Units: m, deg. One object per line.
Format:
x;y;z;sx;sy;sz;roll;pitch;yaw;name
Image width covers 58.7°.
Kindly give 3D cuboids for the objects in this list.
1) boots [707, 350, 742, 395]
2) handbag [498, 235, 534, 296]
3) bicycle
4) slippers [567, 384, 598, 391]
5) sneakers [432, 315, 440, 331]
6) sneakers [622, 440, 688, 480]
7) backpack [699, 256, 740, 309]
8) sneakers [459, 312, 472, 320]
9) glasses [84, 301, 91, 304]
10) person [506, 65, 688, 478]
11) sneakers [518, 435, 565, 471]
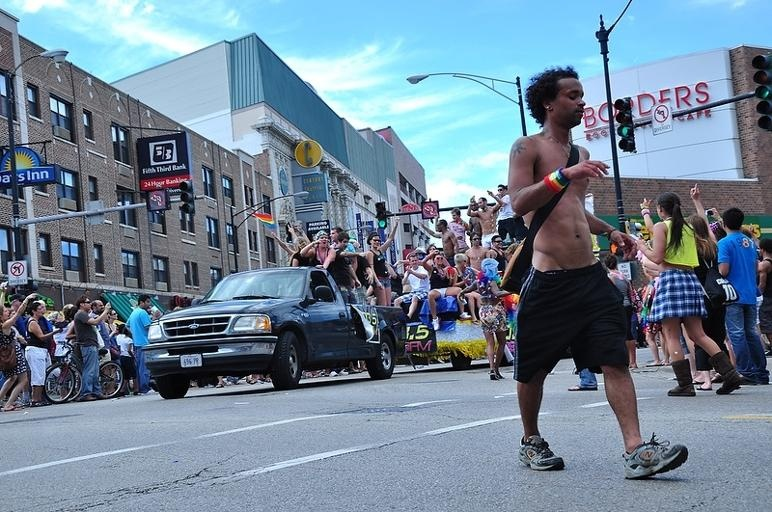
4.369;1.487;8.828;0.363;0.469;0.311;-7;-5;5;boots
1.024;0.080;5.375;0.105;0.381;0.272;20;-18;3;handbag
-7.237;2.898;16.567;0.987;1.198;2.046;-16;-19;33;bicycle
2.915;1.961;10.178;0.400;0.107;0.150;4;-7;-9;slippers
1.222;1.654;16.925;0.163;0.364;0.134;20;-21;-37;sneakers
1.857;1.369;4.554;0.532;0.192;0.261;-17;-53;31;sneakers
4.553;0.349;9.392;0.316;0.588;0.618;-17;-21;32;backpack
1.949;1.477;16.977;0.286;0.125;0.131;-3;-1;31;sneakers
-7.213;1.096;16.374;0.120;0.038;0.116;-5;-4;5;glasses
1.335;0.031;5.076;1.087;2.165;0.866;-8;-5;17;person
1.120;1.452;5.075;0.345;0.163;0.220;-8;-5;22;sneakers
